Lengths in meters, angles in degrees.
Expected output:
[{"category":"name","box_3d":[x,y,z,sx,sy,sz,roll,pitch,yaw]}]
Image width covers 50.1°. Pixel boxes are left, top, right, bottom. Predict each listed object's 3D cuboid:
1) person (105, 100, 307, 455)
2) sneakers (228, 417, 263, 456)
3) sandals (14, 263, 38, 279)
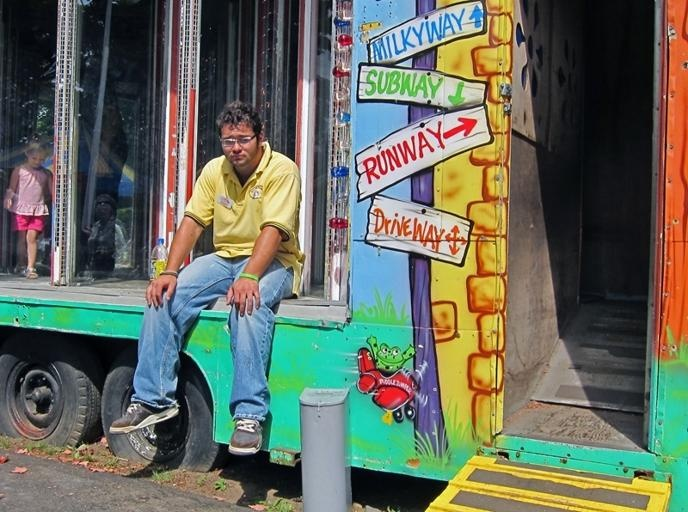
[{"category":"person","box_3d":[-0.925,0.201,5.481,1.077,2.101,0.972,3,6,17]},{"category":"sneakers","box_3d":[-0.673,1.237,5.059,0.205,0.203,0.148,1,7,-4]},{"category":"sandals","box_3d":[-3.614,0.174,8.387,0.286,0.161,0.100,-7,-5,39]}]
